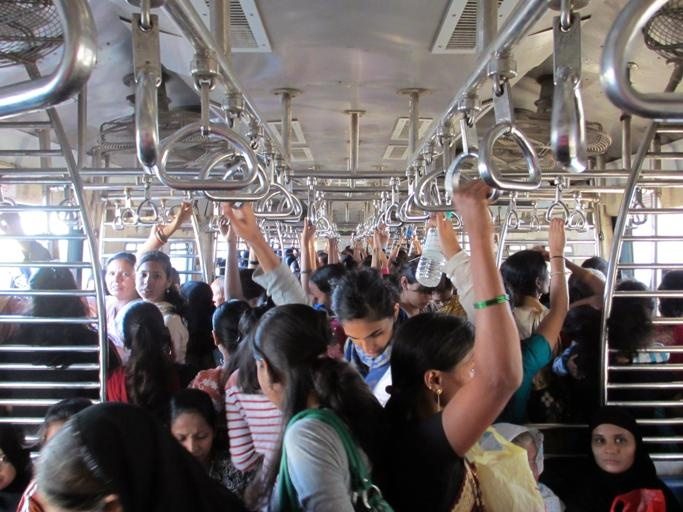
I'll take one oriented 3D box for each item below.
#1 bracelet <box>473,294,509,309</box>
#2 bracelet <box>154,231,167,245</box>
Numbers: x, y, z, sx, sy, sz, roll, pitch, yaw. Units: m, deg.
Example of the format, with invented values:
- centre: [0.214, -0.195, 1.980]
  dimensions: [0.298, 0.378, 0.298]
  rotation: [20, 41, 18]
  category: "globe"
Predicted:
- centre: [0.377, 0.115, 1.320]
  dimensions: [0.081, 0.037, 0.053]
  rotation: [-2, -3, 13]
  category: "bracelet"
- centre: [-1.045, -0.103, 3.045]
  dimensions: [0.074, 0.029, 0.068]
  rotation: [35, -23, 25]
  category: "bracelet"
